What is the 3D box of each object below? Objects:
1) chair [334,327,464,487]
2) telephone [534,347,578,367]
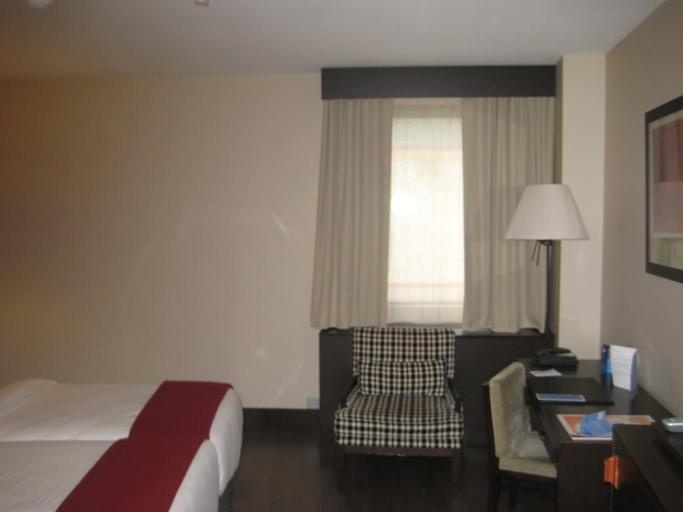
[{"bbox_3d":[0.525,1.273,5.124,1.005,1.263,1.161,0,-3,6],"label":"chair"},{"bbox_3d":[1.697,0.811,4.461,0.215,0.086,0.166,1,-1,6],"label":"telephone"}]
